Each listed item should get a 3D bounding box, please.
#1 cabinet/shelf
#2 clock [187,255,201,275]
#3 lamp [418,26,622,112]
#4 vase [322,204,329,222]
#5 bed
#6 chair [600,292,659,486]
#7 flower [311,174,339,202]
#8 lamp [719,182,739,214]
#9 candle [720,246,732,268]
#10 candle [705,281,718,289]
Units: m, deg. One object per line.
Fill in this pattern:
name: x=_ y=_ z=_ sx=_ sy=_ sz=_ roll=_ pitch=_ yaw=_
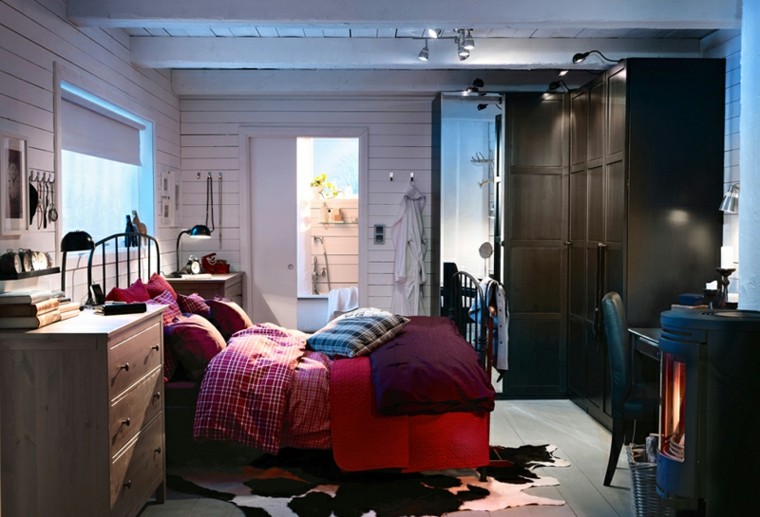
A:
cabinet/shelf: x=2.271 y=-0.096 z=5.456 sx=1.846 sy=3.302 sz=1.703 roll=0 pitch=-3 yaw=8
clock: x=-2.235 y=0.092 z=6.289 sx=0.074 sy=0.232 sz=0.163 roll=-12 pitch=3 yaw=34
lamp: x=1.234 y=-2.039 z=5.375 sx=1.398 sy=0.310 sz=0.902 roll=3 pitch=0 yaw=-1
vase: x=-0.872 y=-0.749 z=8.673 sx=0.122 sy=0.313 sz=0.058 roll=0 pitch=9 yaw=-7
bed: x=-0.758 y=0.578 z=4.785 sx=3.107 sy=2.067 sz=1.891 roll=-1 pitch=5 yaw=-3
chair: x=1.947 y=1.019 z=4.137 sx=0.452 sy=1.431 sz=0.493 roll=2 pitch=9 yaw=9
flower: x=-0.919 y=-1.167 z=8.921 sx=0.437 sy=0.437 sz=0.446 roll=-1 pitch=1 yaw=0
lamp: x=2.999 y=-0.509 z=4.533 sx=0.127 sy=0.273 sz=0.339 roll=6 pitch=10 yaw=32
candle: x=2.778 y=-0.005 z=4.229 sx=0.071 sy=0.153 sz=0.165 roll=6 pitch=10 yaw=30
candle: x=2.823 y=0.225 z=4.498 sx=0.076 sy=0.075 sz=0.059 roll=3 pitch=-5 yaw=16
